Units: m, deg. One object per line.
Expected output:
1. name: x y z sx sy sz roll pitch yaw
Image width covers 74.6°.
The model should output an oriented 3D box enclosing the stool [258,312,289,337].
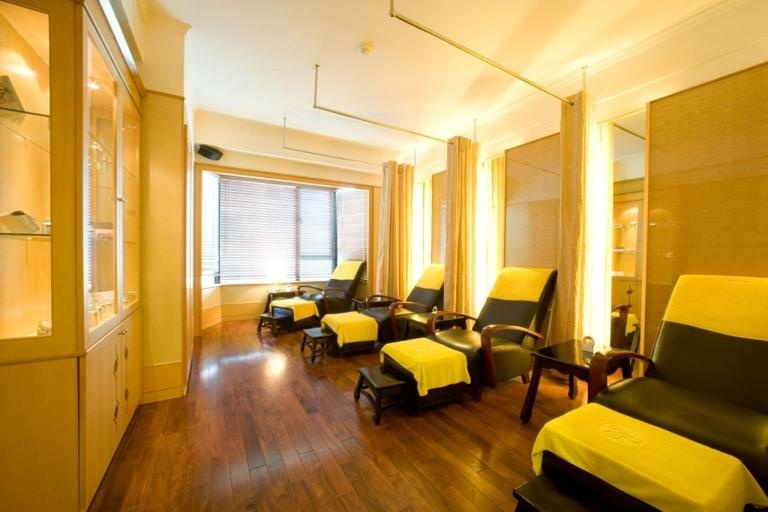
1. stool: -1.537 0.936 7.097 0.341 0.203 0.344 3 4 33
